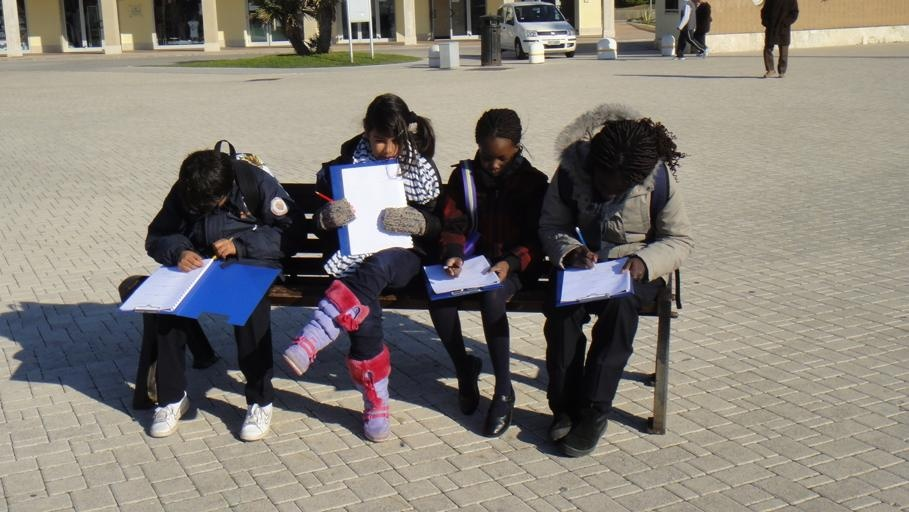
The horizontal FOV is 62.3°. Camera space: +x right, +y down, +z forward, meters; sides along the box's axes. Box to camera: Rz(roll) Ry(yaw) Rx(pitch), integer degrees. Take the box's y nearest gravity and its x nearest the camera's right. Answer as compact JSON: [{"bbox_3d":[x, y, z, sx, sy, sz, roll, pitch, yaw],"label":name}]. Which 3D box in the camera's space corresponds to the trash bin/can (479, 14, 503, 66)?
[{"bbox_3d":[1.305,-7.355,25.412,1.131,1.574,0.972,-5,22,-8],"label":"trash bin/can"}]

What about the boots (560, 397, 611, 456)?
[{"bbox_3d":[0.971,1.229,5.497,0.225,0.277,0.512,16,24,34],"label":"boots"}]

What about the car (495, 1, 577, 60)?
[{"bbox_3d":[3.253,-8.657,28.720,2.571,2.109,3.227,-4,18,-8],"label":"car"}]

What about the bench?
[{"bbox_3d":[-0.399,0.292,6.051,4.321,1.403,1.190,-1,18,7],"label":"bench"}]

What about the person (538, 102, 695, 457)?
[{"bbox_3d":[1.091,0.131,5.633,1.002,2.397,1.311,14,25,36],"label":"person"}]

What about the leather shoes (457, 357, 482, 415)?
[{"bbox_3d":[0.156,1.006,5.870,0.198,0.423,0.195,0,4,32],"label":"leather shoes"}]

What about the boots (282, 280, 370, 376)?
[{"bbox_3d":[-0.898,0.543,5.514,0.319,0.764,0.504,43,7,-37],"label":"boots"}]

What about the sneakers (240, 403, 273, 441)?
[{"bbox_3d":[-1.495,1.252,5.658,0.155,0.131,0.372,0,3,1],"label":"sneakers"}]

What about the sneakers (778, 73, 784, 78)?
[{"bbox_3d":[8.480,-4.658,19.390,0.134,0.105,0.118,3,26,9],"label":"sneakers"}]

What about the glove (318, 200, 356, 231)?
[{"bbox_3d":[-0.902,-0.321,5.701,0.297,0.220,0.144,-1,19,1],"label":"glove"}]

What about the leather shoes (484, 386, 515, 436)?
[{"bbox_3d":[0.366,1.164,5.685,0.170,0.153,0.417,4,31,22],"label":"leather shoes"}]

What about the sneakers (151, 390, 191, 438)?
[{"bbox_3d":[-2.182,1.207,5.775,0.186,0.243,0.348,6,19,20],"label":"sneakers"}]
